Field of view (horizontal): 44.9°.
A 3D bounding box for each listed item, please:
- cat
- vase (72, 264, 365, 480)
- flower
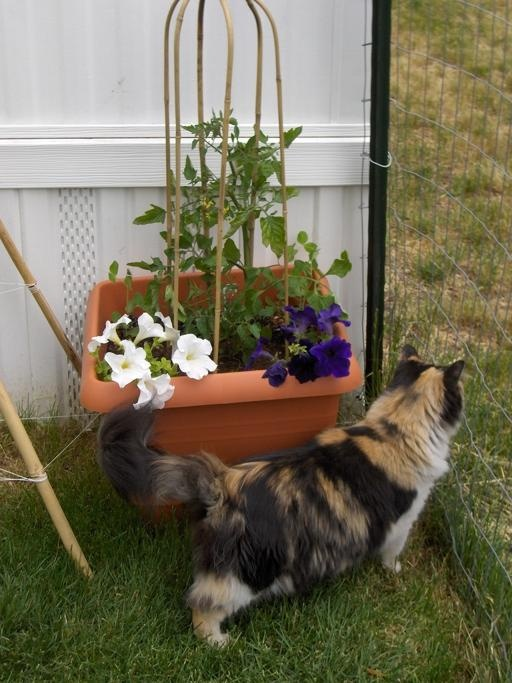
[{"bbox_3d":[0.093,0.381,1.705,0.944,0.671,0.424,-13,23,-23],"label":"cat"},{"bbox_3d":[-0.123,0.127,2.007,0.818,0.389,0.624,0,48,-7],"label":"vase"},{"bbox_3d":[-0.102,-0.206,2.004,0.614,0.930,1.096,2,20,-2],"label":"flower"}]
